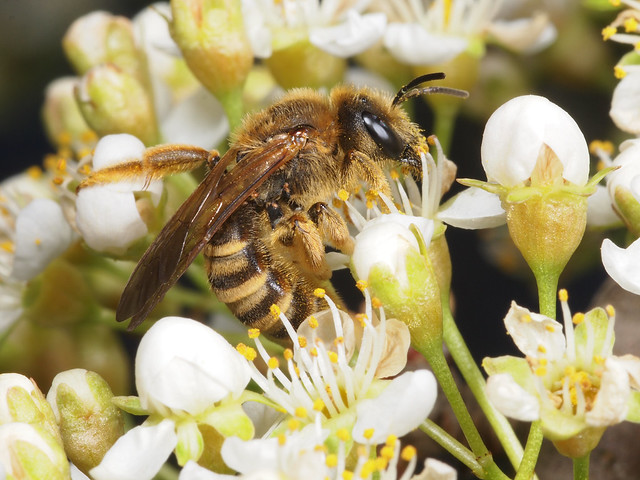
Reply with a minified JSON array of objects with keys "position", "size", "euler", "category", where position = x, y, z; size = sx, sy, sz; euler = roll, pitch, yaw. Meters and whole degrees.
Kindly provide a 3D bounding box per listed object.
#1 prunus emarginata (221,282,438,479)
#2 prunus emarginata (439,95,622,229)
[{"position":[0.014,0.232,1.216],"size":[0.311,0.245,0.202],"euler":[-21,78,10],"category":"prunus emarginata"},{"position":[0.363,-0.105,1.291],"size":[0.220,0.349,0.099],"euler":[-8,50,13],"category":"prunus emarginata"}]
